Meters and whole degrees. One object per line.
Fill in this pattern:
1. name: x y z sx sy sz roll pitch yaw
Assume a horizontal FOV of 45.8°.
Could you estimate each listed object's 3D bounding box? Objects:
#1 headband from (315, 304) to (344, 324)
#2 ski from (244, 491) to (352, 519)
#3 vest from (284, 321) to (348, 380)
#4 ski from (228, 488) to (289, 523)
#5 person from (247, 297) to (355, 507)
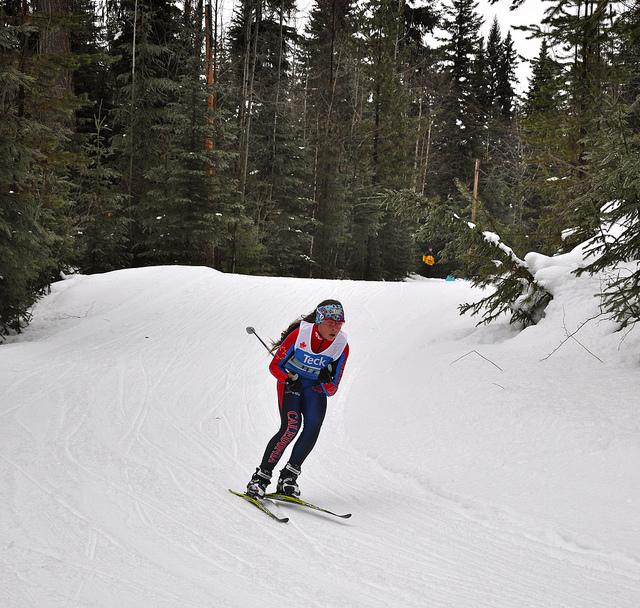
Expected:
1. headband: 0.126 0.103 8.420 0.191 0.151 0.249 13 -2 -34
2. ski: -0.281 2.263 8.474 1.069 0.119 0.127 9 31 36
3. vest: -0.057 0.528 8.556 0.414 0.526 0.281 21 18 -27
4. ski: -0.660 2.222 8.286 0.090 0.065 0.516 12 10 -47
5. person: -0.206 1.089 8.529 1.027 2.311 0.669 3 10 -10
